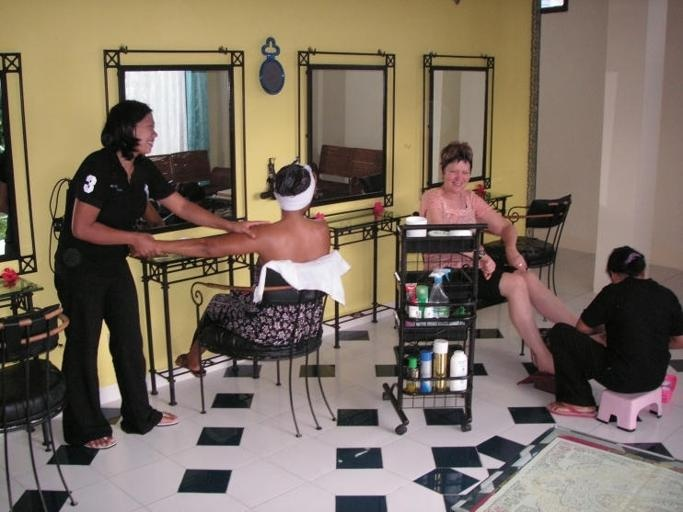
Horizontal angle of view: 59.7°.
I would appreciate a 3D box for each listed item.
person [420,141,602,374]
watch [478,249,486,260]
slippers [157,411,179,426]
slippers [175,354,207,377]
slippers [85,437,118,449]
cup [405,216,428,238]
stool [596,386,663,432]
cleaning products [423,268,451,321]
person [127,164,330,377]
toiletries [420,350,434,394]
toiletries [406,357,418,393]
[{"bbox_3d":[1.130,0.025,3.933,1.318,1.392,0.519,18,28,39],"label":"person"},{"bbox_3d":[0.892,-0.015,3.779,0.049,0.027,0.069,4,50,0],"label":"watch"},{"bbox_3d":[-1.045,0.969,3.589,0.113,0.047,0.064,-4,12,-32],"label":"slippers"},{"bbox_3d":[-0.951,0.693,3.772,0.102,0.073,0.256,-12,20,-43],"label":"slippers"},{"bbox_3d":[-1.357,1.059,3.365,0.131,0.045,0.071,-3,16,-10],"label":"slippers"},{"bbox_3d":[0.423,-0.169,3.380,0.111,0.085,0.113,1,9,0],"label":"cup"},{"bbox_3d":[1.711,0.863,3.546,0.273,0.156,0.274,-13,15,-33],"label":"stool"},{"bbox_3d":[0.554,0.215,3.451,0.129,0.290,0.123,-6,9,-13],"label":"cleaning products"},{"bbox_3d":[-0.585,0.153,3.680,1.066,1.469,0.929,13,13,29],"label":"person"},{"bbox_3d":[0.490,0.669,3.469,0.068,0.240,0.074,2,-5,-13],"label":"toiletries"},{"bbox_3d":[0.411,0.700,3.494,0.065,0.210,0.062,3,1,27],"label":"toiletries"}]
